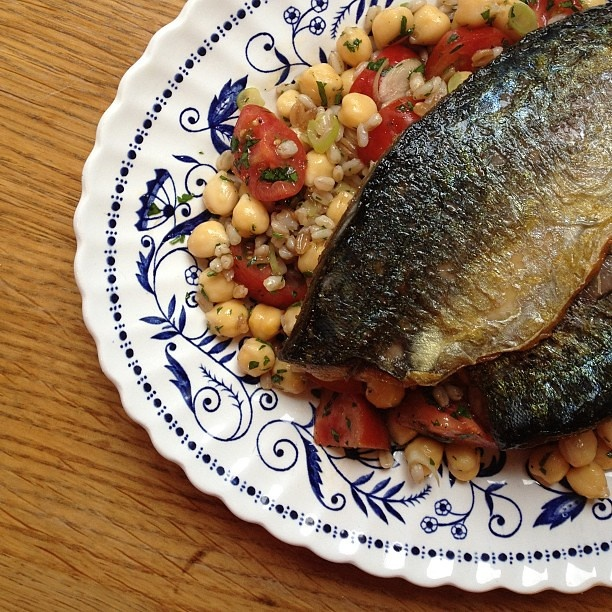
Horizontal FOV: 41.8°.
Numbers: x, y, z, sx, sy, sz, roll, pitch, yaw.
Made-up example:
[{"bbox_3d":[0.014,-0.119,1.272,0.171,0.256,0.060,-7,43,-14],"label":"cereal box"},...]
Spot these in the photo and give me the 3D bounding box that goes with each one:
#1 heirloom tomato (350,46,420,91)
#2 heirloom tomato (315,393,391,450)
[{"bbox_3d":[0.188,-0.626,2.113,0.165,0.141,0.072,-28,63,-32],"label":"heirloom tomato"},{"bbox_3d":[0.115,0.301,2.111,0.230,0.074,0.146,0,80,8],"label":"heirloom tomato"}]
